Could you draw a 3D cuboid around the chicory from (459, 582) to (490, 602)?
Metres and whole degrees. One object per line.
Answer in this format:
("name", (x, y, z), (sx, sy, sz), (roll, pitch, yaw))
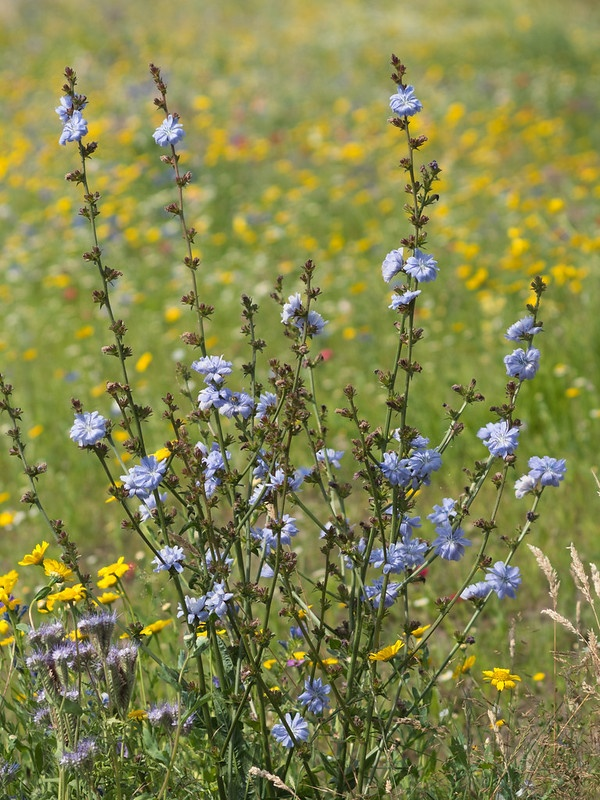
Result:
("chicory", (0.485, 0.524, 4.265), (0.062, 0.030, 0.060), (3, 38, 36))

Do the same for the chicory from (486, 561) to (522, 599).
("chicory", (0.557, 0.495, 4.229), (0.097, 0.101, 0.036), (29, -11, -3))
